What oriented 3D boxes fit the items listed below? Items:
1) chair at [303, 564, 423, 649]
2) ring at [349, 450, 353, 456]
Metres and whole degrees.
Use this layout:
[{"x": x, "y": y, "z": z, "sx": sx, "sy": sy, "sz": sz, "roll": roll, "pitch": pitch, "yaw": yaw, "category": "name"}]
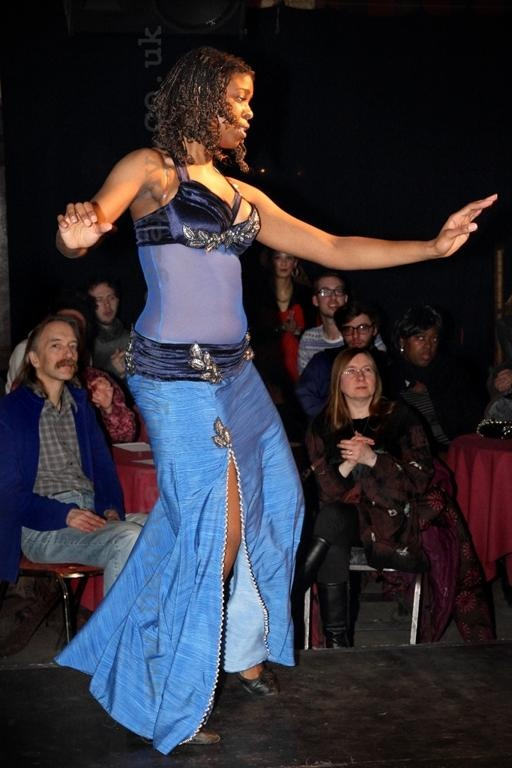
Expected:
[{"x": 0.405, "y": 0.844, "z": 2.720, "sx": 0.499, "sy": 0.412, "sz": 0.358, "roll": 1, "pitch": 1, "yaw": 2, "category": "chair"}, {"x": 0.358, "y": 0.261, "z": 2.637, "sx": 0.016, "sy": 0.019, "sz": 0.006, "roll": -1, "pitch": -7, "yaw": 8, "category": "ring"}]
